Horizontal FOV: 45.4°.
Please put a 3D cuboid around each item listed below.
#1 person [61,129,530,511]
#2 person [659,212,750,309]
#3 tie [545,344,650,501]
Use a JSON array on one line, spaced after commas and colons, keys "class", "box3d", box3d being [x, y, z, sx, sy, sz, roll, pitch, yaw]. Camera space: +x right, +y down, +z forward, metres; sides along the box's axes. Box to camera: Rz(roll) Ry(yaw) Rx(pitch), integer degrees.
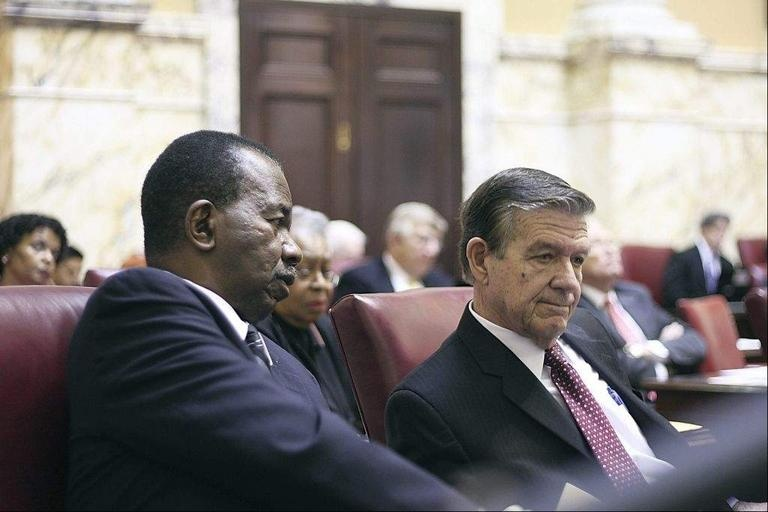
[{"class": "person", "box3d": [-0.437, 0.178, 2.697, 1.136, 1.134, 0.480, 0, 0, 26]}, {"class": "person", "box3d": [2.603, 0.034, 7.451, 0.575, 1.276, 0.413, 6, -1, -29]}, {"class": "tie", "box3d": [0.699, 0.556, 3.232, 0.059, 0.706, 0.158, -37, -39, 16]}]
